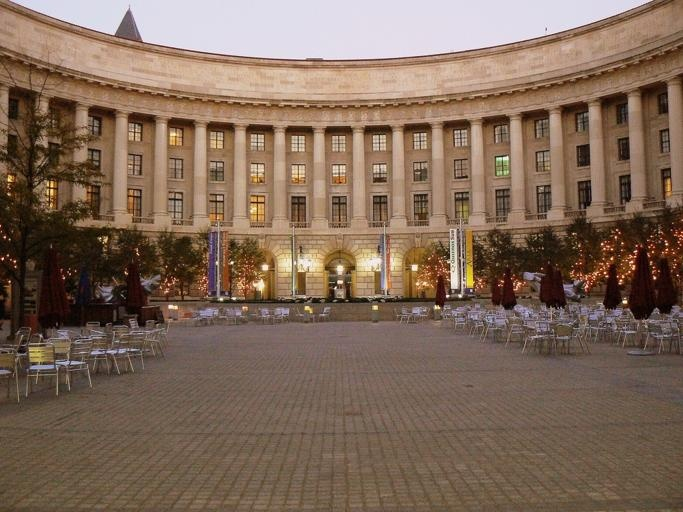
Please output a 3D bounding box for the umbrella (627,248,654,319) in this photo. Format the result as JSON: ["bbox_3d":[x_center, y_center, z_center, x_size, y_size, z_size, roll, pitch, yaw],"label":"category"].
[{"bbox_3d":[9.985,0.879,22.957,0.754,2.397,0.916,-6,-6,26],"label":"umbrella"}]

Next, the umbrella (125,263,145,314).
[{"bbox_3d":[-8.187,1.189,27.120,0.662,2.045,1.738,-2,-6,-17],"label":"umbrella"}]

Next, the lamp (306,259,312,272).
[{"bbox_3d":[-3.063,0.725,62.908,0.671,1.027,0.313,1,-7,-44],"label":"lamp"}]
